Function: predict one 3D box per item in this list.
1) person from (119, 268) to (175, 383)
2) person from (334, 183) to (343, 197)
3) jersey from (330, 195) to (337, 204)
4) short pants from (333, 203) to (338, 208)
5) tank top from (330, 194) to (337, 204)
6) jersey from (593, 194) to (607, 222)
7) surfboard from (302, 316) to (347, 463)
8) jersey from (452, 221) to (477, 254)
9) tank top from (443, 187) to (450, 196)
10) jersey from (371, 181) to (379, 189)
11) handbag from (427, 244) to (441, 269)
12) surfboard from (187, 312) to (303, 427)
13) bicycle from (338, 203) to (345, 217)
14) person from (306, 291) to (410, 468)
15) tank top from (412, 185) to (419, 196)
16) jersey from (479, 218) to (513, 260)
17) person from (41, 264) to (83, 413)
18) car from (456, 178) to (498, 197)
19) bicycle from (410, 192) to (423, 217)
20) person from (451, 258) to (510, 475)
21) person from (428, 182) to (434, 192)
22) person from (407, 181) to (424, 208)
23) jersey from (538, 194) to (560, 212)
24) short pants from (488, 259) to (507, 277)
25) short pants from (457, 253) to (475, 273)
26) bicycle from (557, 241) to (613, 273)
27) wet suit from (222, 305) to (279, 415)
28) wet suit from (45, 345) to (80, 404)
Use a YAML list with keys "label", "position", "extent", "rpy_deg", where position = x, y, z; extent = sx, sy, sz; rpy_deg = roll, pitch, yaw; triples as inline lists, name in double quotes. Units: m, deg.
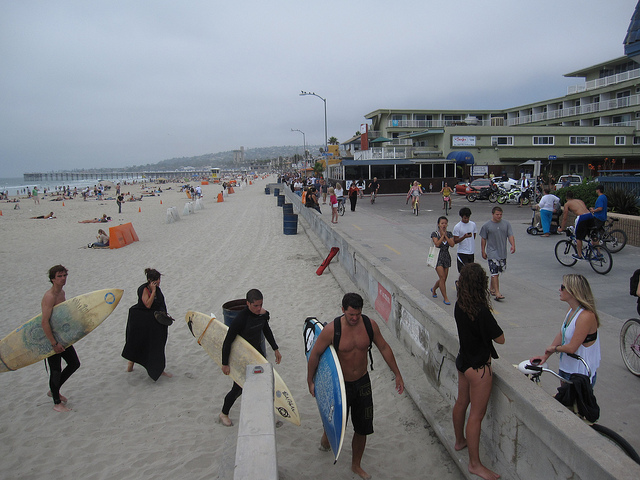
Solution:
- label: "person"
  position: [-3.077, 1.581, 7.772]
  extent: [0.942, 2.106, 0.305]
  rpy_deg: [-2, 10, 8]
- label: "person"
  position: [1.068, -2.856, 25.046]
  extent: [0.343, 0.801, 0.666]
  rpy_deg: [-4, 11, -5]
- label: "jersey"
  position: [0.675, -2.109, 22.708]
  extent: [0.315, 0.663, 0.440]
  rpy_deg: [1, 8, 19]
- label: "short pants"
  position: [0.809, -1.844, 22.898]
  extent: [0.312, 0.267, 0.330]
  rpy_deg: [-1, 1, -12]
- label: "tank top"
  position: [0.716, -2.122, 22.824]
  extent: [0.288, 0.602, 0.398]
  rpy_deg: [1, 7, 22]
- label: "jersey"
  position: [8.387, -0.923, 12.919]
  extent: [0.263, 0.845, 0.398]
  rpy_deg: [5, 13, 39]
- label: "surfboard"
  position: [0.049, 1.809, 5.392]
  extent: [0.235, 0.535, 1.800]
  rpy_deg: [11, 33, -11]
- label: "jersey"
  position: [3.330, -0.035, 9.965]
  extent: [0.505, 0.730, 0.336]
  rpy_deg: [-2, 10, 9]
- label: "tank top"
  position: [7.122, -2.776, 24.618]
  extent: [0.257, 0.617, 0.579]
  rpy_deg: [-1, -12, 14]
- label: "jersey"
  position: [4.278, -4.315, 34.219]
  extent: [0.522, 0.717, 0.643]
  rpy_deg: [-1, 3, -38]
- label: "handbag"
  position: [2.633, 0.435, 9.974]
  extent: [0.314, 0.497, 0.241]
  rpy_deg: [-2, 10, 7]
- label: "surfboard"
  position: [-1.269, 1.827, 6.569]
  extent: [3.077, 0.282, 0.638]
  rpy_deg: [28, 66, 36]
- label: "bicycle"
  position: [1.245, -1.818, 25.953]
  extent: [0.332, 0.732, 0.978]
  rpy_deg: [-2, 11, 4]
- label: "person"
  position: [0.479, 1.880, 5.676]
  extent: [1.246, 2.597, 0.610]
  rpy_deg: [-1, 17, 3]
- label: "tank top"
  position: [5.567, -2.866, 25.157]
  extent: [0.497, 0.757, 0.382]
  rpy_deg: [0, 3, 1]
- label: "jersey"
  position: [4.047, -0.037, 9.840]
  extent: [0.690, 0.898, 0.321]
  rpy_deg: [-3, 15, 26]
- label: "person"
  position: [-4.428, 1.670, 7.230]
  extent: [0.569, 2.383, 0.647]
  rpy_deg: [-5, 10, -8]
- label: "car"
  position: [12.087, -4.242, 33.241]
  extent: [2.716, 1.464, 1.885]
  rpy_deg: [2, 9, 11]
- label: "bicycle"
  position: [5.566, -2.090, 25.145]
  extent: [0.323, 1.254, 1.175]
  rpy_deg: [-2, 11, 6]
- label: "person"
  position: [1.916, 1.619, 5.236]
  extent: [0.542, 2.609, 0.450]
  rpy_deg: [-2, 10, 9]
- label: "person"
  position: [11.075, -5.274, 43.422]
  extent: [0.412, 0.939, 0.572]
  rpy_deg: [5, 13, 39]
- label: "person"
  position: [5.802, -2.779, 25.777]
  extent: [0.919, 1.076, 1.604]
  rpy_deg: [-1, 2, 2]
- label: "jersey"
  position: [8.709, -1.405, 16.398]
  extent: [0.611, 0.643, 0.573]
  rpy_deg: [2, 12, 26]
- label: "short pants"
  position: [3.978, 0.600, 9.785]
  extent: [0.405, 0.609, 0.307]
  rpy_deg: [-1, -1, -19]
- label: "short pants"
  position: [3.356, 0.508, 10.011]
  extent: [0.347, 0.394, 0.370]
  rpy_deg: [1, 12, 23]
- label: "bicycle"
  position: [7.540, 0.403, 12.195]
  extent: [0.746, 1.012, 1.473]
  rpy_deg: [-4, 12, -22]
- label: "wet suit"
  position: [-1.111, 1.864, 6.645]
  extent: [0.893, 1.843, 0.437]
  rpy_deg: [-8, 11, -24]
- label: "wet suit"
  position: [-4.441, 2.354, 7.419]
  extent: [0.560, 1.636, 0.372]
  rpy_deg: [8, 19, -17]
